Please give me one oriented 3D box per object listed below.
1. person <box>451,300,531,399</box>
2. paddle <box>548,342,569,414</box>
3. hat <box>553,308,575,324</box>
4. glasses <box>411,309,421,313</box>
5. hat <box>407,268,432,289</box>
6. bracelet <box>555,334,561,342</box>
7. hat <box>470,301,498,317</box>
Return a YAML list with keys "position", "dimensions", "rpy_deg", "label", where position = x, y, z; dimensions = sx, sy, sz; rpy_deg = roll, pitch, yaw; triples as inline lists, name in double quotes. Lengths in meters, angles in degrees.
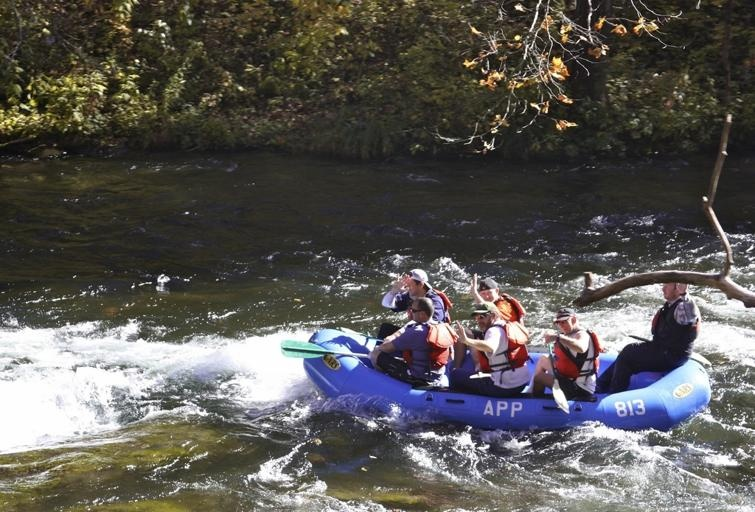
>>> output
- position: [1.931, 1.612, 17.084]
  dimensions: [1.257, 1.631, 0.572]
  rpy_deg: [-1, 9, 3]
  label: "person"
- position: [3.080, 2.118, 17.055]
  dimensions: [0.319, 1.130, 0.531]
  rpy_deg: [0, 9, 7]
  label: "paddle"
- position: [3.163, 1.013, 16.976]
  dimensions: [0.280, 0.233, 0.288]
  rpy_deg: [0, 7, 3]
  label: "hat"
- position: [0.642, 0.959, 17.321]
  dimensions: [0.138, 0.071, 0.033]
  rpy_deg: [3, 10, 32]
  label: "glasses"
- position: [0.763, 0.418, 18.074]
  dimensions: [0.339, 0.305, 0.575]
  rpy_deg: [-1, 6, 1]
  label: "hat"
- position: [3.039, 1.385, 16.912]
  dimensions: [0.113, 0.071, 0.028]
  rpy_deg: [14, -15, -21]
  label: "bracelet"
- position: [1.821, 0.916, 17.037]
  dimensions: [0.456, 0.228, 0.231]
  rpy_deg: [-1, 7, -3]
  label: "hat"
